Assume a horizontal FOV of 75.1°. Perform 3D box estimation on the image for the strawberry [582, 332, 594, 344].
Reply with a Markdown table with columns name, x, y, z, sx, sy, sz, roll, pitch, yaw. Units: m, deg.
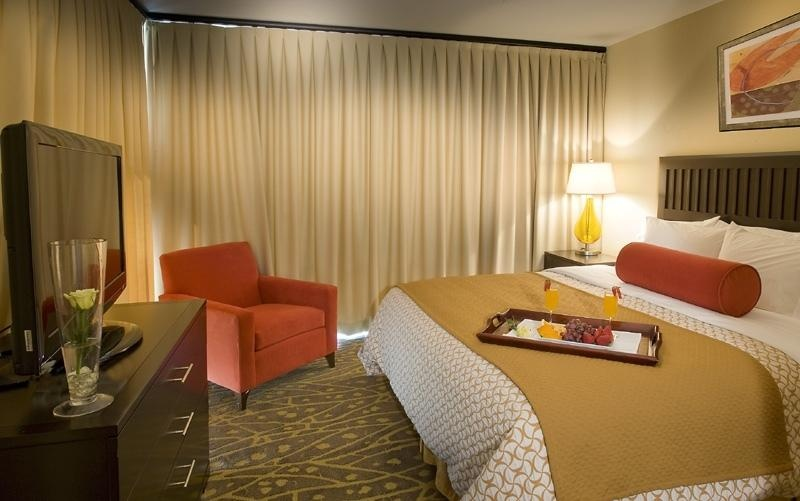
| name | x | y | z | sx | sy | sz | roll | pitch | yaw |
| --- | --- | --- | --- | --- | --- | --- | --- | --- | --- |
| strawberry | 1.160 | 0.543 | 3.215 | 0.059 | 0.057 | 0.057 | 24 | 2 | 17 |

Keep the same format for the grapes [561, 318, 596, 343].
| name | x | y | z | sx | sy | sz | roll | pitch | yaw |
| --- | --- | --- | --- | --- | --- | --- | --- | --- | --- |
| grapes | 1.119 | 0.508 | 3.285 | 0.147 | 0.057 | 0.146 | -2 | 5 | -15 |

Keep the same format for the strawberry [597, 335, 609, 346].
| name | x | y | z | sx | sy | sz | roll | pitch | yaw |
| --- | --- | --- | --- | --- | --- | --- | --- | --- | --- |
| strawberry | 1.248 | 0.556 | 3.204 | 0.061 | 0.040 | 0.054 | -1 | -6 | 6 |

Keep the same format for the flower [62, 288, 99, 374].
| name | x | y | z | sx | sy | sz | roll | pitch | yaw |
| --- | --- | --- | --- | --- | --- | --- | --- | --- | --- |
| flower | -1.467 | 0.366 | 2.410 | 0.166 | 0.372 | 0.098 | -8 | 14 | -32 |

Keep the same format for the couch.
| name | x | y | z | sx | sy | sz | roll | pitch | yaw |
| --- | --- | --- | --- | --- | --- | --- | --- | --- | --- |
| couch | -1.397 | 0.610 | 4.934 | 1.420 | 1.480 | 1.399 | 4 | 7 | 37 |
